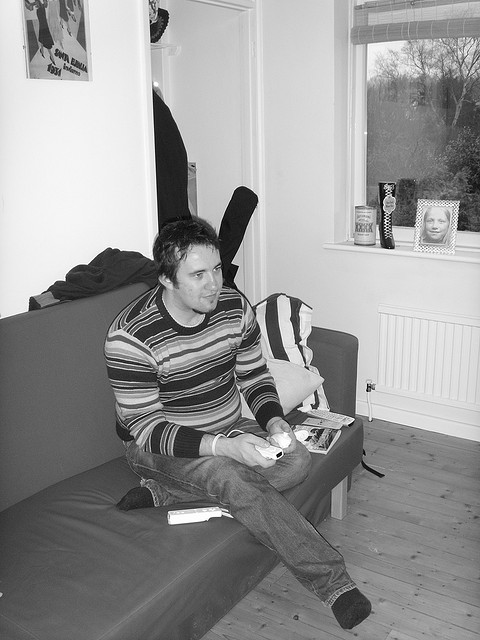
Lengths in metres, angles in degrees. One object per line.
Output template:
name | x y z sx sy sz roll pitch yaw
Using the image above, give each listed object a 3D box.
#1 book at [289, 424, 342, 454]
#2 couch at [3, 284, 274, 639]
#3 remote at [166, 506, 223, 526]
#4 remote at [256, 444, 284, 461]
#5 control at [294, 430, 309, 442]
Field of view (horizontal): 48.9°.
book | 0.266 0.408 1.825 0.106 0.018 0.118 8 23 27
couch | -0.272 0.370 1.361 0.396 0.556 0.766 9 24 28
remote | -0.115 0.497 1.335 0.089 0.024 0.018 -1 39 -16
remote | 0.087 0.356 1.387 0.053 0.013 0.042 12 17 36
control | 0.200 0.372 1.702 0.037 0.037 0.009 -6 -8 -6
